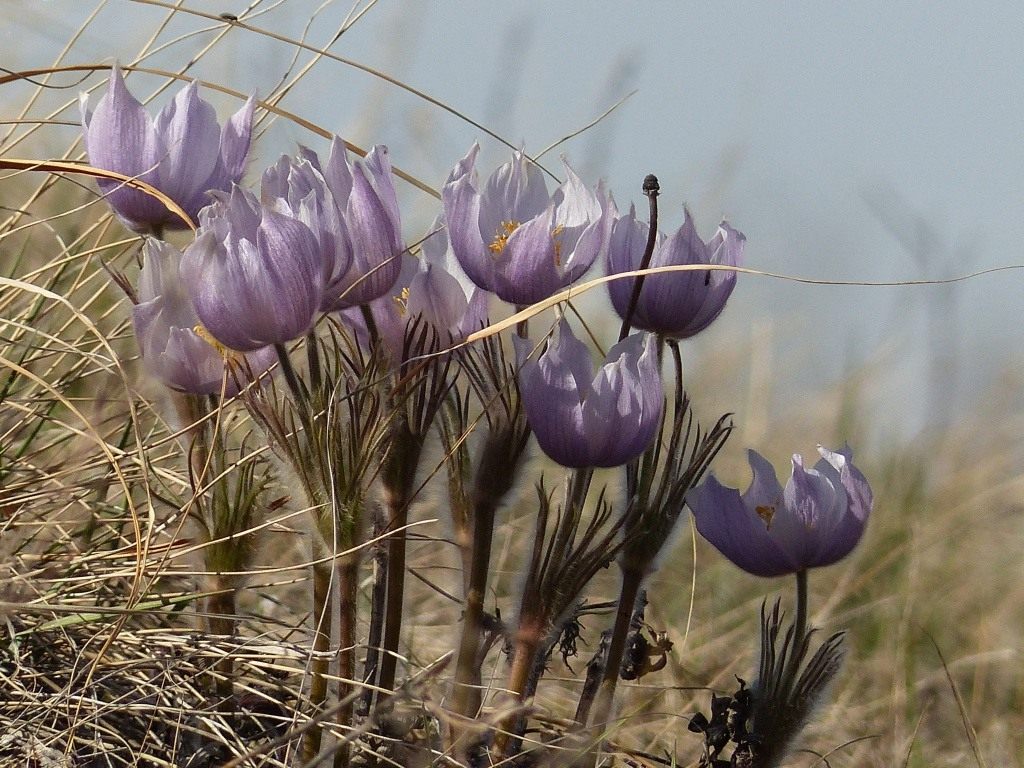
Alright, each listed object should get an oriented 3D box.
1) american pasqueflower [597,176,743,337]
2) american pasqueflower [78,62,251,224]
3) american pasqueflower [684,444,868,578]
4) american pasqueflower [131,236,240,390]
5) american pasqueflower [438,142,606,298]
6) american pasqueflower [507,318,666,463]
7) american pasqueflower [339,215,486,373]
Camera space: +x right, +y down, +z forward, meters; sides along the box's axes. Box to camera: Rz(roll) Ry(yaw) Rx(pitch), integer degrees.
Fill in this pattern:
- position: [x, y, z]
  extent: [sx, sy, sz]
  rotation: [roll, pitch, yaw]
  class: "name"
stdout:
- position: [0.209, -0.139, 1.681]
  extent: [0.198, 0.167, 0.089]
  rotation: [11, -2, -40]
  class: "american pasqueflower"
- position: [-0.431, -0.288, 1.715]
  extent: [0.267, 0.213, 0.141]
  rotation: [11, 1, 29]
  class: "american pasqueflower"
- position: [0.354, 0.158, 1.722]
  extent: [0.229, 0.180, 0.228]
  rotation: [-12, -18, 33]
  class: "american pasqueflower"
- position: [-0.421, -0.070, 1.686]
  extent: [0.074, 0.191, 0.138]
  rotation: [-33, -20, 31]
  class: "american pasqueflower"
- position: [0.014, -0.180, 1.584]
  extent: [0.162, 0.182, 0.195]
  rotation: [-4, 39, -17]
  class: "american pasqueflower"
- position: [0.097, 0.024, 1.554]
  extent: [0.133, 0.169, 0.163]
  rotation: [3, 8, 23]
  class: "american pasqueflower"
- position: [-0.106, -0.094, 1.637]
  extent: [0.188, 0.130, 0.139]
  rotation: [-41, 12, -24]
  class: "american pasqueflower"
